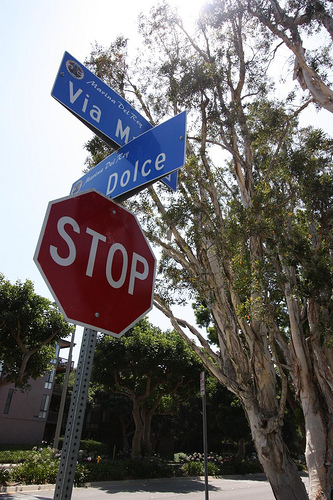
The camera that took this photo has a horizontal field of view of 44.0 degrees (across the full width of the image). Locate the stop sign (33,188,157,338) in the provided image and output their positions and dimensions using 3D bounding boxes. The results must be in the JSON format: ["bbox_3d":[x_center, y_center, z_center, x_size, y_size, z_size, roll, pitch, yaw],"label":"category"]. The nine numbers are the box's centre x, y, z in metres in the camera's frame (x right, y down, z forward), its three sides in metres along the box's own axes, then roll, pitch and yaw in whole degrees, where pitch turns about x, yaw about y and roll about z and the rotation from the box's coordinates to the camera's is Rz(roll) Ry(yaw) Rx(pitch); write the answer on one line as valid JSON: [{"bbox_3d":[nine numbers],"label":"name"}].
[{"bbox_3d":[-0.329,0.034,2.099,0.091,0.759,0.731,-19,-33,41],"label":"stop sign"}]
